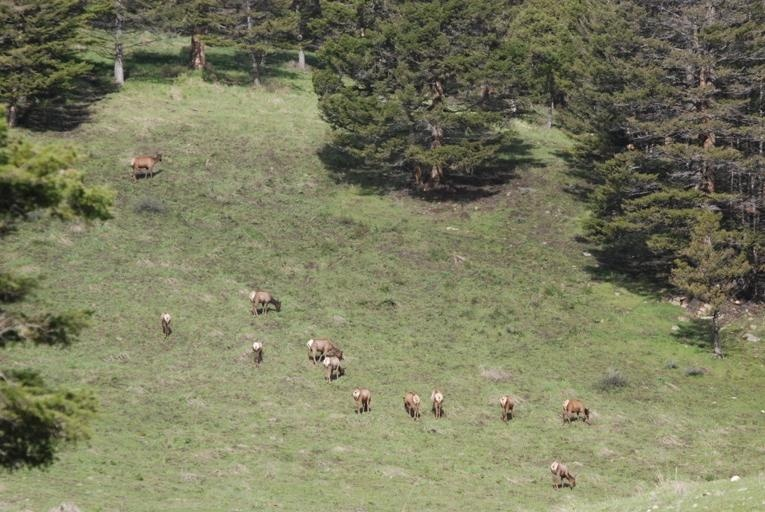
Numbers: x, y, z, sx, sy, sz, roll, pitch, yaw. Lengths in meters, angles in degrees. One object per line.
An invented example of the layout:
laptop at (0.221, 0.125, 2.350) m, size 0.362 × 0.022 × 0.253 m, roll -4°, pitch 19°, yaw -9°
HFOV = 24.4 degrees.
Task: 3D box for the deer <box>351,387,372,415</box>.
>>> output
deer at (-1.498, 10.384, 128.196) m, size 1.427 × 1.740 × 1.252 m, roll 2°, pitch 21°, yaw -8°

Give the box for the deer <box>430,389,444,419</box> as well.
deer at (3.904, 10.551, 128.618) m, size 0.949 × 1.889 × 1.733 m, roll 6°, pitch 21°, yaw 1°

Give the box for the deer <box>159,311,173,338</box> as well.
deer at (-16.218, 5.118, 132.049) m, size 0.764 × 1.641 × 1.037 m, roll 0°, pitch 13°, yaw 22°

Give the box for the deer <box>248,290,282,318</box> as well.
deer at (-9.048, 3.506, 135.338) m, size 2.643 × 1.786 × 1.155 m, roll -8°, pitch 25°, yaw -32°

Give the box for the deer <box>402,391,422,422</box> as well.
deer at (2.100, 10.851, 127.961) m, size 1.140 × 1.754 × 0.932 m, roll 5°, pitch 21°, yaw -2°

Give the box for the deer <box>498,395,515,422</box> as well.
deer at (8.843, 10.924, 128.169) m, size 1.096 × 1.874 × 1.577 m, roll 6°, pitch 21°, yaw 3°
